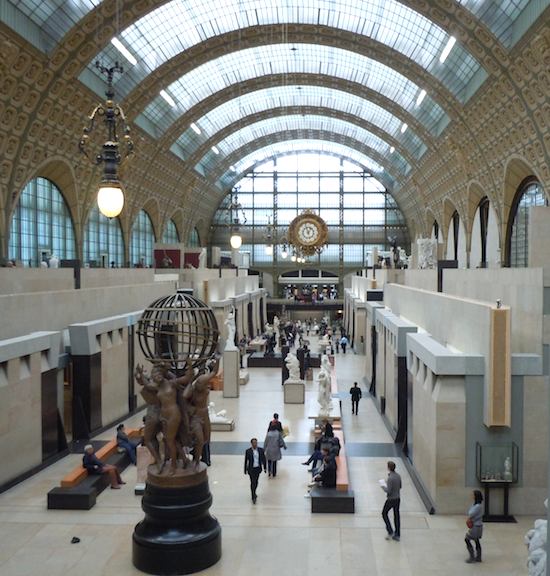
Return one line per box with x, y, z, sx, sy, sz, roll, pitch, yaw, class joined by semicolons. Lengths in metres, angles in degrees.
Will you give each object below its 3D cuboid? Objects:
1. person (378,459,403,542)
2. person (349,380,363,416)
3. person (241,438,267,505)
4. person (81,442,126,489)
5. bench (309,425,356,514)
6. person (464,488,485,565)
2.069;3.720;8.860;0.312;1.548;1.082;0;1;14;person
3.142;4.203;19.503;0.363;1.376;1.920;0;1;9;person
-0.445;3.865;10.592;0.306;1.324;0.752;0;0;11;person
-3.888;4.027;11.071;0.577;1.248;0.524;-22;-16;-14;person
1.253;4.059;10.804;0.904;1.036;2.381;0;1;8;bench
3.097;3.715;7.765;0.234;1.038;0.771;0;1;22;person
